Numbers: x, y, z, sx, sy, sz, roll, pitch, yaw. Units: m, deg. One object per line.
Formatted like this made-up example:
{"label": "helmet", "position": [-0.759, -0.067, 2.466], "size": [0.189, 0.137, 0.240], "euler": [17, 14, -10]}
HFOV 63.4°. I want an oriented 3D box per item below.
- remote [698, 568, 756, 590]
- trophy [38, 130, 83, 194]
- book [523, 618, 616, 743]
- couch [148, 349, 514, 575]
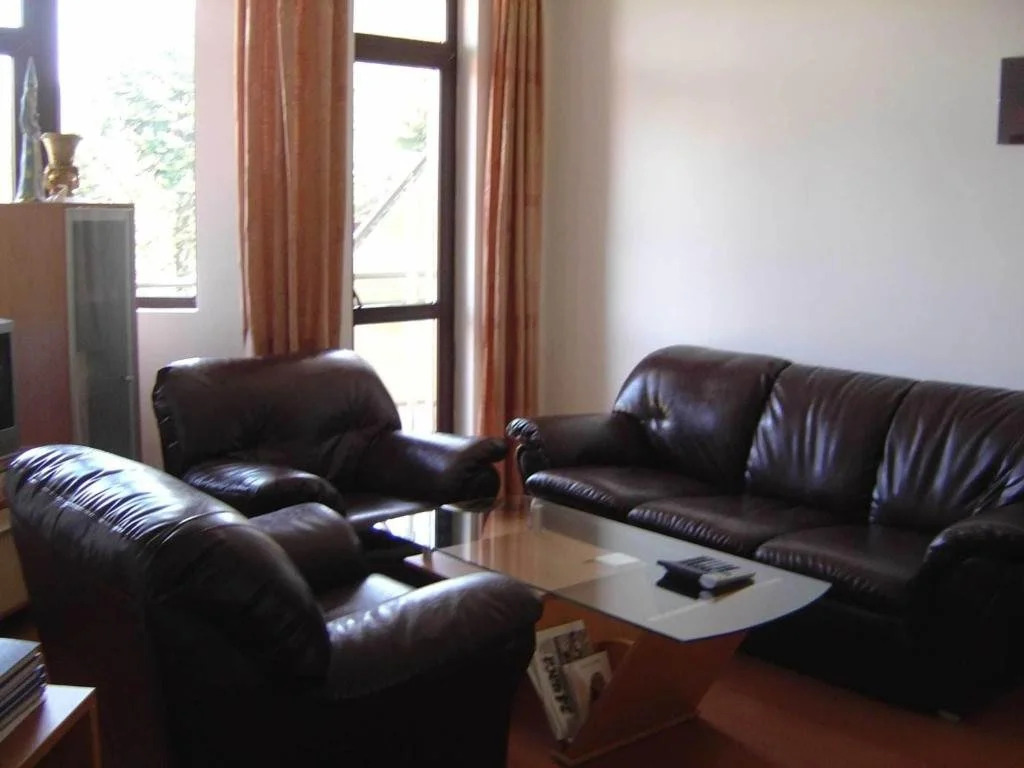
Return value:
{"label": "remote", "position": [0.685, 0.617, 2.648], "size": [0.071, 0.032, 0.139], "euler": [2, 9, 42]}
{"label": "trophy", "position": [-1.953, -0.950, 3.617], "size": [0.153, 0.274, 0.163], "euler": [-12, 16, -38]}
{"label": "book", "position": [0.172, 0.956, 2.753], "size": [0.311, 0.414, 0.136], "euler": [-9, 2, -30]}
{"label": "couch", "position": [-0.886, 0.225, 3.644], "size": [1.247, 0.963, 0.951], "euler": [-1, -1, -43]}
